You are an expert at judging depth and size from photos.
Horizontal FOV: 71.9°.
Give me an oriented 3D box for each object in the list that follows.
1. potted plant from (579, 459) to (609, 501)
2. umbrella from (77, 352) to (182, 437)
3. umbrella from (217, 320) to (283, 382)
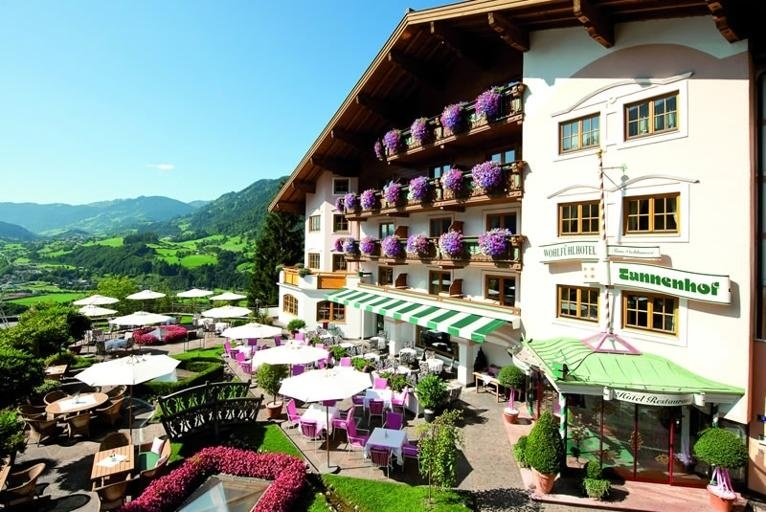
[{"bbox_3d":[9.751,10.455,24.665,1.162,1.547,1.106,-29,21,26],"label":"potted plant"},{"bbox_3d":[-12.004,7.030,25.640,4.467,4.313,4.558,-11,-20,5],"label":"umbrella"},{"bbox_3d":[-8.459,6.334,34.662,3.417,2.449,3.670,0,3,10],"label":"umbrella"}]
